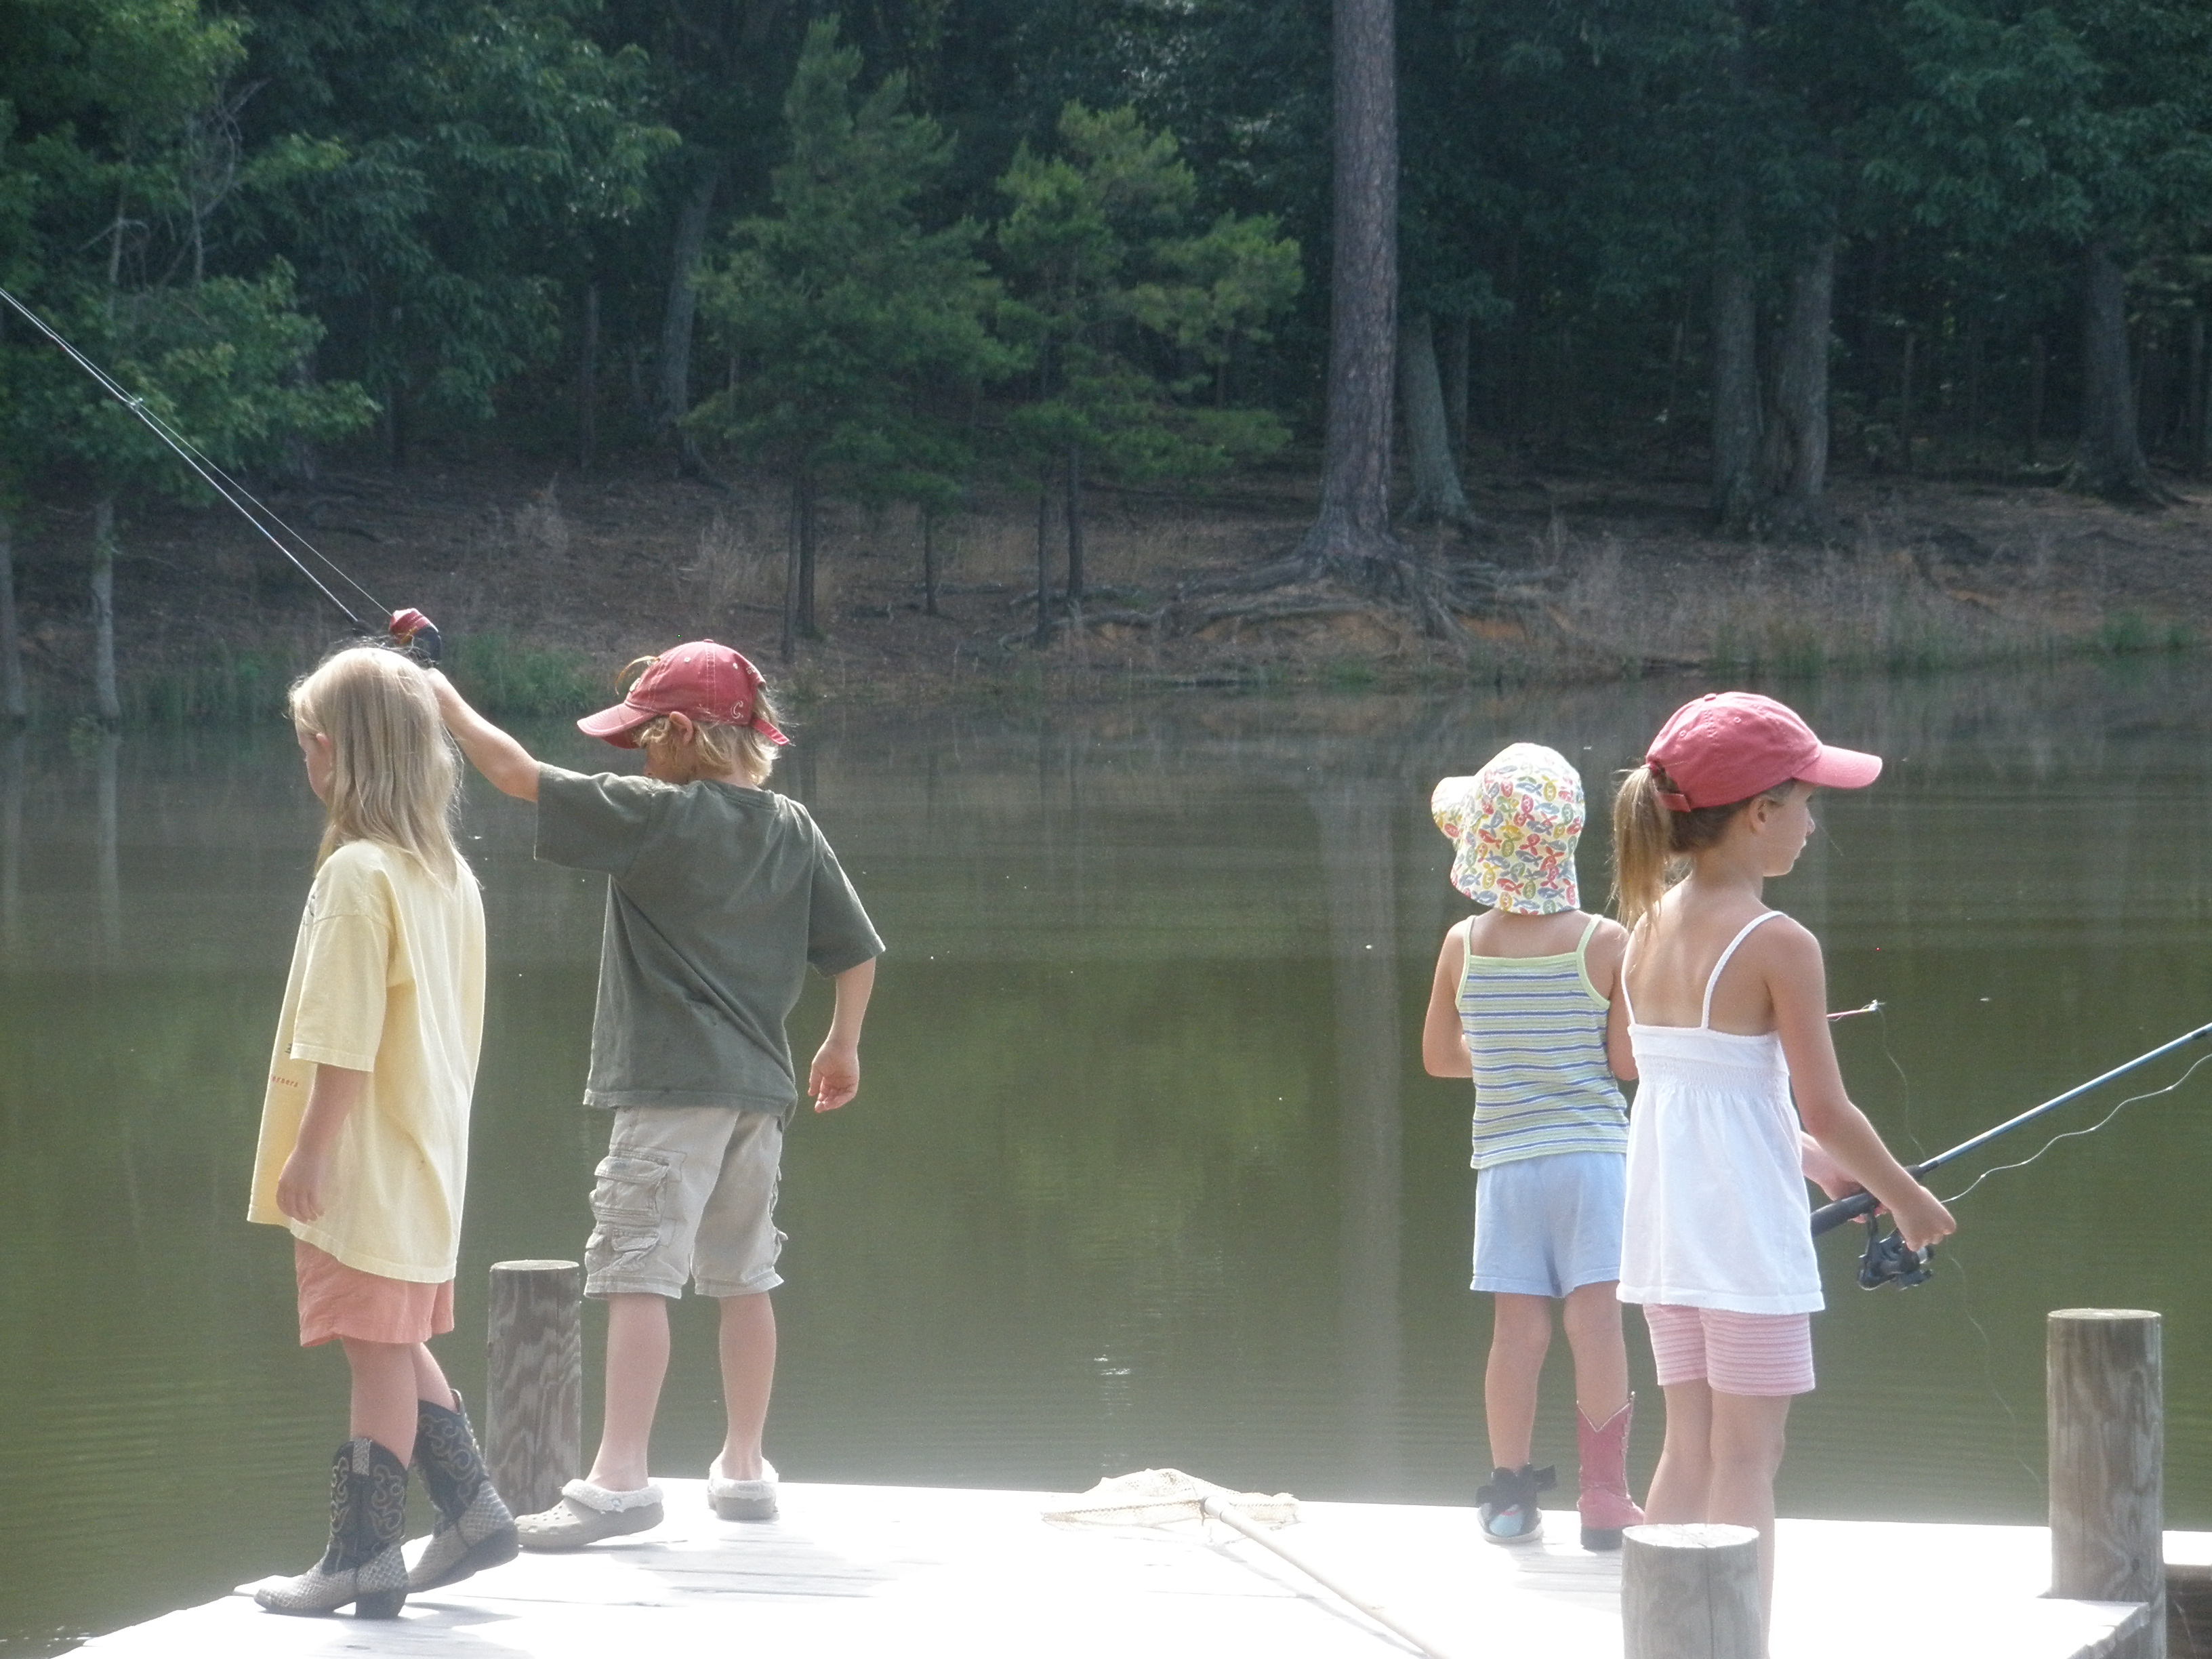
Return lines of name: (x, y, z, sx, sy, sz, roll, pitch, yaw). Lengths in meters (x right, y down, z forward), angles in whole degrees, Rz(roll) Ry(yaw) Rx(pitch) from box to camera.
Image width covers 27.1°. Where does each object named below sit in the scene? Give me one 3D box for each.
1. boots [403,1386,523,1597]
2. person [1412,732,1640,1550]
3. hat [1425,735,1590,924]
boots: (-2.986, 3.070, 21.390, 0.673, 0.795, 0.569, 1, 5, -11)
person: (2.205, 1.530, 22.139, 1.105, 3.793, 1.142, -3, -5, 22)
hat: (2.005, -0.108, 22.157, 0.740, 0.734, 1.217, 3, 18, -11)
